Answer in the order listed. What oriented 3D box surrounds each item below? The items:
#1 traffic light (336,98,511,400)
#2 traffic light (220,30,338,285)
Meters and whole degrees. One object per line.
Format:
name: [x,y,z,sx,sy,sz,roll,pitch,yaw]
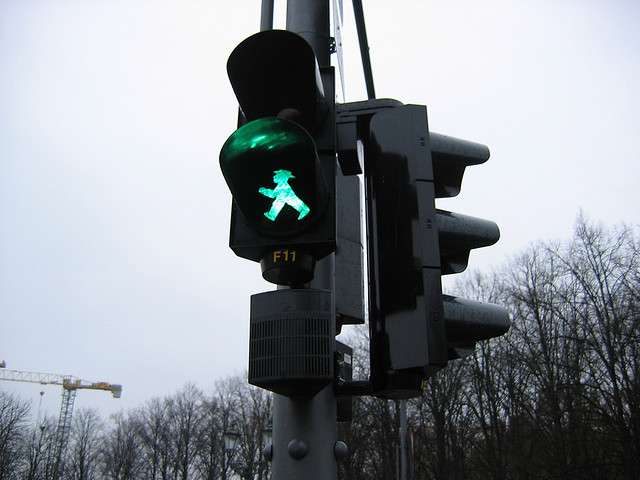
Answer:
traffic light: [0.622,0.061,4.367,1.168,2.250,0.663,5,-29,-10]
traffic light: [-0.260,-0.548,4.080,0.722,1.442,0.751,-1,-27,1]
